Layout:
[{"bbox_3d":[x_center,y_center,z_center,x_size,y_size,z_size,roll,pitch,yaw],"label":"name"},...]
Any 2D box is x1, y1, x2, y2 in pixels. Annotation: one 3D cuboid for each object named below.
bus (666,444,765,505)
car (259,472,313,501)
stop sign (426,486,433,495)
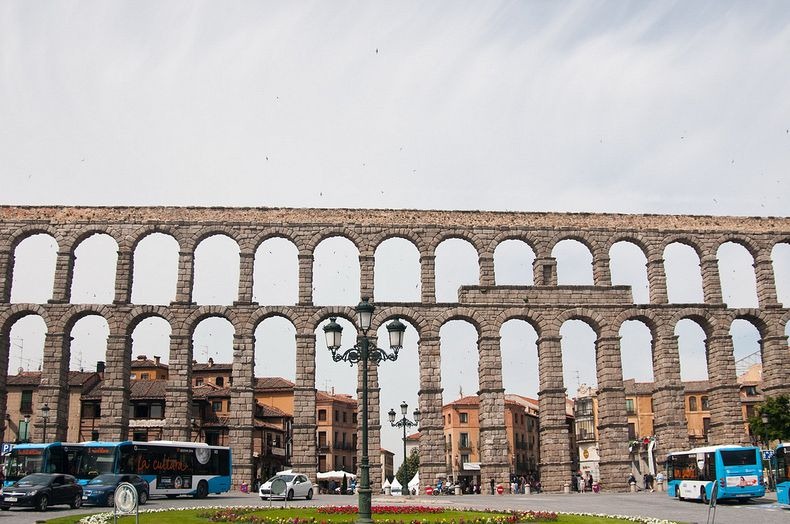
[{"bbox_3d":[20.316,13.542,66.151,3.684,3.666,8.390,3,-15,-8],"label":"bus"},{"bbox_3d":[-6.943,14.704,66.475,2.192,2.056,5.016,-11,-21,26],"label":"car"},{"bbox_3d":[2.496,16.203,71.587,0.444,0.558,0.464,4,-12,-12],"label":"stop sign"}]
